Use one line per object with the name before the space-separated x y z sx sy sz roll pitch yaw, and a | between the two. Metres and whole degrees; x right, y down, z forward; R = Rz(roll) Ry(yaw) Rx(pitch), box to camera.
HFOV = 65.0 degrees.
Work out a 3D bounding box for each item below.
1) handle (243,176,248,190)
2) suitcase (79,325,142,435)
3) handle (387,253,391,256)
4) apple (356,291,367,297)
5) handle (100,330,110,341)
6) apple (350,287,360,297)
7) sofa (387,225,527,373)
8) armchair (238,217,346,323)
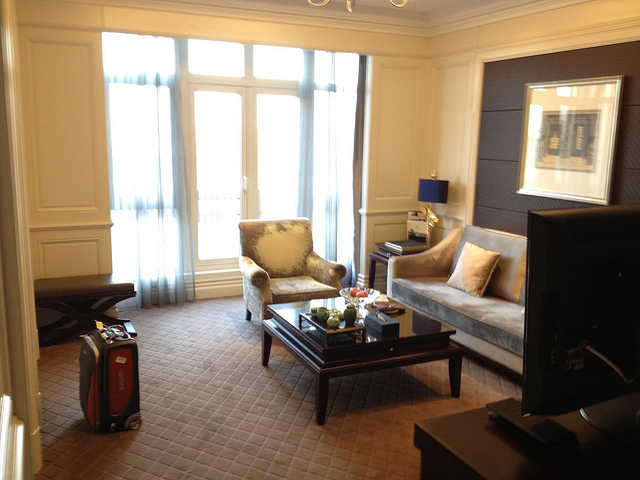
handle | -0.933 -0.721 6.282 0.039 0.162 0.020 -4 14 -21
suitcase | -1.458 0.936 3.582 0.350 0.701 0.422 -1 10 -35
handle | 0.831 0.162 6.031 0.024 0.013 0.034 10 8 -15
apple | 0.362 0.474 4.373 0.098 0.050 0.066 1 14 -1
handle | -1.502 0.665 3.508 0.051 0.014 0.055 -7 24 -43
apple | 0.294 0.444 4.401 0.062 0.074 0.061 35 -16 -25
sofa | 1.457 0.443 4.808 0.964 1.148 2.210 -1 7 -19
armchair | -0.370 0.257 5.333 1.023 1.186 1.011 -1 8 -20
